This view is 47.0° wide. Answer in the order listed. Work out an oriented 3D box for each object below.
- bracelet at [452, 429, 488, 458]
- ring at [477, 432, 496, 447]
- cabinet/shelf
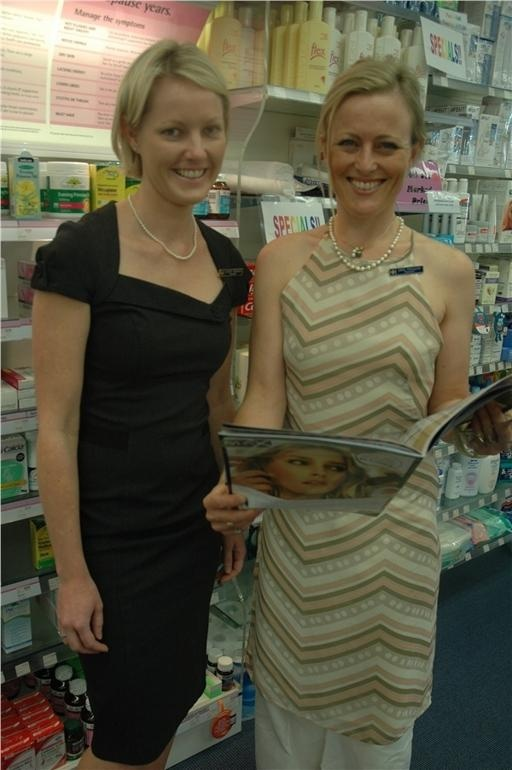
[{"bbox_3d":[0.426,0.113,1.198,0.072,0.051,0.027,22,54,38],"label":"bracelet"},{"bbox_3d":[0.447,0.108,1.143,0.020,0.025,0.008,25,60,28],"label":"ring"},{"bbox_3d":[-0.152,-0.004,1.362,0.919,1.187,0.299,1,7,-10],"label":"cabinet/shelf"}]
